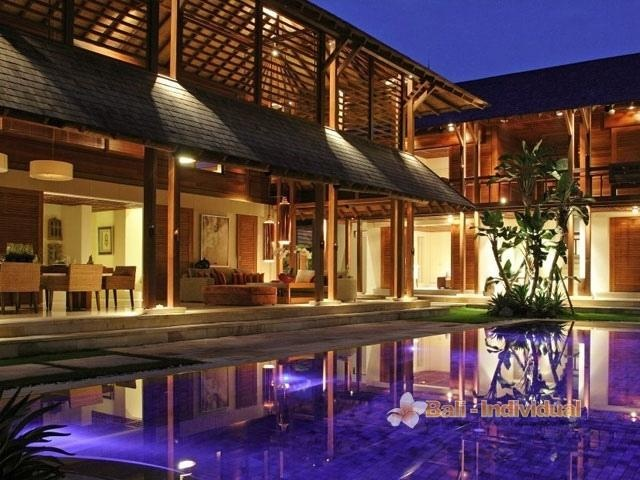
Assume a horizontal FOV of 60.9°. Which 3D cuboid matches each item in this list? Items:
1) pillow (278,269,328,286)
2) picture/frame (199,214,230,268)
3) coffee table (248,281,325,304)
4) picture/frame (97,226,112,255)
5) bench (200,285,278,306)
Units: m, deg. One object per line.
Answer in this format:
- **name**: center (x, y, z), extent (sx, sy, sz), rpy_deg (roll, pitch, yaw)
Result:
- **pillow**: center (-0.605, 1.141, 16.492), extent (0.731, 0.380, 0.968), rpy_deg (-3, -8, 25)
- **picture/frame**: center (-3.666, 0.021, 19.213), extent (0.231, 1.781, 1.502), rpy_deg (0, -2, 28)
- **coffee table**: center (-1.076, 1.481, 15.427), extent (1.929, 0.620, 1.266), rpy_deg (5, -1, -39)
- **picture/frame**: center (-7.379, 0.008, 18.810), extent (0.959, 1.066, 0.115), rpy_deg (-2, -3, 37)
- **bench**: center (-2.181, 1.496, 14.614), extent (1.933, 0.552, 0.498), rpy_deg (0, -2, 14)
